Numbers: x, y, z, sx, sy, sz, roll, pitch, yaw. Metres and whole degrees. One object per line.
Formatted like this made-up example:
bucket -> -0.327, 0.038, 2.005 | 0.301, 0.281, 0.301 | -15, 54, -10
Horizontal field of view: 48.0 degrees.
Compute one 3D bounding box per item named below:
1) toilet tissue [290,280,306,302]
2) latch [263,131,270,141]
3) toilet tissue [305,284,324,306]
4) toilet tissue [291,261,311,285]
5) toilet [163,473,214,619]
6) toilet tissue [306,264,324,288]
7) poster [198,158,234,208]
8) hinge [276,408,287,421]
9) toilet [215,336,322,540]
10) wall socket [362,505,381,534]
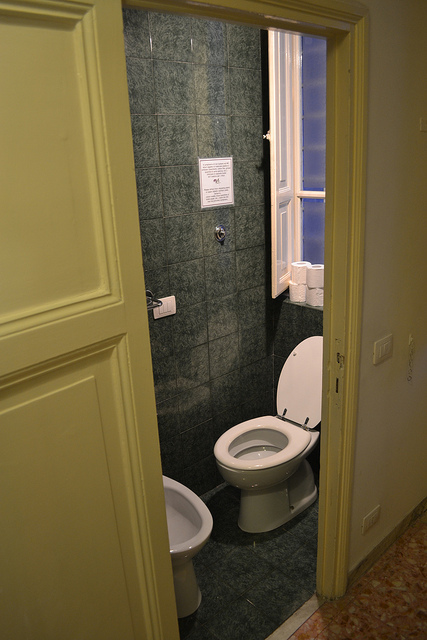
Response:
toilet tissue -> 0.441, -0.160, 2.570 | 0.095, 0.111, 0.092 | 13, 20, 39
latch -> 0.259, -0.890, 2.331 | 0.028, 0.043, 0.011 | 4, 6, 9
toilet tissue -> 0.514, -0.125, 2.437 | 0.093, 0.108, 0.097 | -4, 9, -9
toilet tissue -> 0.464, -0.254, 2.518 | 0.096, 0.118, 0.107 | 4, 18, 20
toilet -> -0.086, 0.908, 1.914 | 0.177, 0.411, 0.479 | -8, 11, -6
toilet tissue -> 0.505, -0.215, 2.448 | 0.104, 0.122, 0.109 | -1, 14, 9
poster -> 0.013, -0.628, 2.177 | 0.195, 0.212, 0.009 | 8, 17, 37
hinge -> 0.361, 0.502, 2.531 | 0.019, 0.052, 0.066 | 8, 2, -29
toilet -> 0.274, 0.560, 2.315 | 0.563, 0.851, 0.356 | -10, 17, -31
wall socket -> 0.607, 0.771, 1.856 | 0.140, 0.103, 0.014 | -29, 32, -36
